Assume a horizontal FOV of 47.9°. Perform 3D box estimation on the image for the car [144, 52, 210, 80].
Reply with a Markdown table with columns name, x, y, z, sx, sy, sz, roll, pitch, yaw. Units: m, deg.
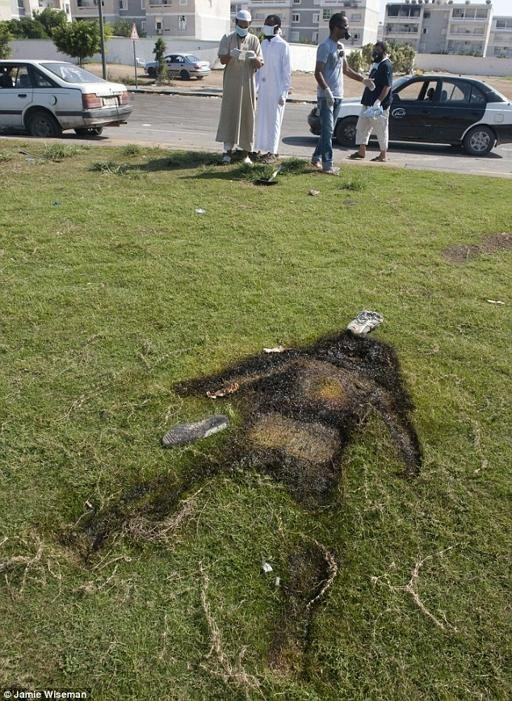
| name | x | y | z | sx | sy | sz | roll | pitch | yaw |
| --- | --- | --- | --- | --- | --- | --- | --- | --- | --- |
| car | -4.482 | -18.004 | 36.655 | 2.673 | 1.503 | 1.718 | 0 | 23 | -16 |

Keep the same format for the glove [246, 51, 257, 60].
| name | x | y | z | sx | sy | sz | roll | pitch | yaw |
| --- | --- | --- | --- | --- | --- | --- | --- | --- | --- |
| glove | -0.080 | -4.199 | 8.194 | 0.196 | 0.113 | 0.101 | -6 | 25 | -27 |

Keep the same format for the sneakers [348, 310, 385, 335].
| name | x | y | z | sx | sy | sz | roll | pitch | yaw |
| --- | --- | --- | --- | --- | --- | --- | --- | --- | --- |
| sneakers | 0.782 | -0.203 | 4.161 | 0.160 | 0.085 | 0.235 | 28 | 37 | 25 |

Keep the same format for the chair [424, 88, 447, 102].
| name | x | y | z | sx | sy | sz | roll | pitch | yaw |
| --- | --- | --- | --- | --- | --- | --- | --- | --- | --- |
| chair | 3.553 | -5.021 | 11.359 | 0.415 | 0.246 | 0.168 | 12 | 23 | 13 |

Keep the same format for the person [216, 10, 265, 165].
| name | x | y | z | sx | sy | sz | roll | pitch | yaw |
| --- | --- | --- | --- | --- | --- | --- | --- | --- | --- |
| person | -0.266 | -3.864 | 8.502 | 0.656 | 2.140 | 1.110 | 5 | 22 | -3 |

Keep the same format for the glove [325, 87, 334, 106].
| name | x | y | z | sx | sy | sz | roll | pitch | yaw |
| --- | --- | --- | --- | --- | --- | --- | --- | --- | --- |
| glove | 1.017 | -3.509 | 7.986 | 0.068 | 0.237 | 0.130 | -5 | 28 | 11 |

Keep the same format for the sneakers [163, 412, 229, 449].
| name | x | y | z | sx | sy | sz | roll | pitch | yaw |
| --- | --- | --- | --- | --- | --- | --- | --- | --- | --- |
| sneakers | -0.318 | 0.421 | 3.023 | 0.387 | 0.065 | 0.144 | -12 | 28 | -37 |

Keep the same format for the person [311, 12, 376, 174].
| name | x | y | z | sx | sy | sz | roll | pitch | yaw |
| --- | --- | --- | --- | --- | --- | --- | --- | --- | --- |
| person | 1.192 | -3.775 | 8.494 | 0.761 | 2.216 | 1.299 | 8 | 22 | 5 |

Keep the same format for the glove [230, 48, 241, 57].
| name | x | y | z | sx | sy | sz | roll | pitch | yaw |
| --- | --- | --- | --- | --- | --- | --- | --- | --- | --- |
| glove | -0.295 | -4.179 | 8.096 | 0.093 | 0.110 | 0.120 | -13 | 32 | -33 |
